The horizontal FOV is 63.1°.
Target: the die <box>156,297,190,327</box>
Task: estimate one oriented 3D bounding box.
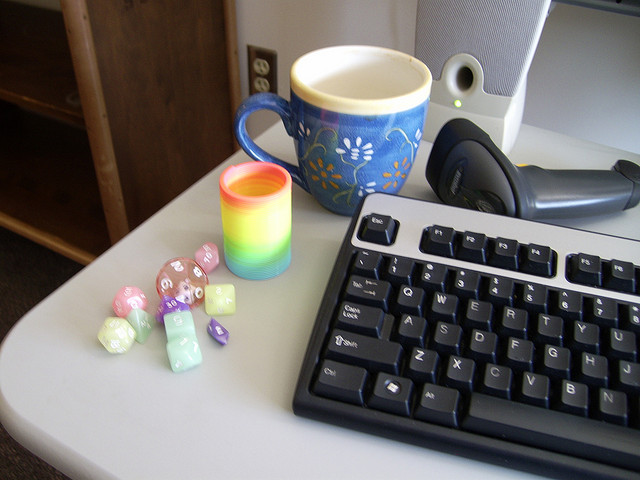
[{"bbox_3d":[-0.136,0.071,0.489,0.024,0.027,0.026,11,77,-21],"label":"die"}]

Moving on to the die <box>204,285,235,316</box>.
[{"bbox_3d":[-0.099,0.055,0.502,0.025,0.018,0.030,-2,90,-5],"label":"die"}]

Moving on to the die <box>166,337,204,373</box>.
[{"bbox_3d":[-0.163,0.072,0.481,0.026,0.028,0.029,-33,72,-17],"label":"die"}]

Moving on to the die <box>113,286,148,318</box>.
[{"bbox_3d":[-0.180,0.058,0.490,0.027,0.028,0.027,-43,27,-28],"label":"die"}]

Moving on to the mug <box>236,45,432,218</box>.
[{"bbox_3d":[0.007,-0.132,0.668,0.266,0.212,0.217,1,42,-3],"label":"mug"}]

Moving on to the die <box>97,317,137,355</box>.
[{"bbox_3d":[-0.181,0.086,0.466,0.024,0.032,0.035,13,51,9],"label":"die"}]

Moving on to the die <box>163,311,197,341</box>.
[{"bbox_3d":[-0.127,0.077,0.483,0.023,0.026,0.027,-4,40,6],"label":"die"}]
